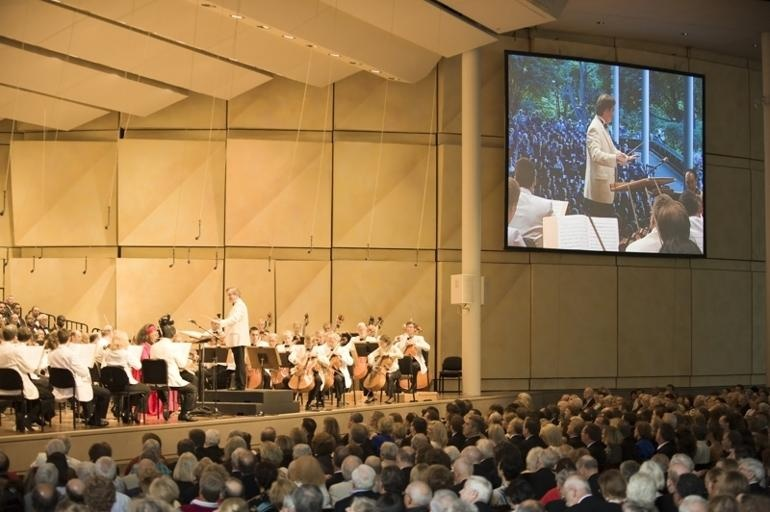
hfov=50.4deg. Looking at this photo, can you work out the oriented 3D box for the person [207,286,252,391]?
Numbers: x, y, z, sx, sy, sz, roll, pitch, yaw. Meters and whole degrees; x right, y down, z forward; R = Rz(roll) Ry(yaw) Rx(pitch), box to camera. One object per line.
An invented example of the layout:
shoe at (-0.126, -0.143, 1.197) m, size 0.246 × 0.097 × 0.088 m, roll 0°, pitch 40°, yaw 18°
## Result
person at (-3.155, 1.614, 17.195) m, size 0.594 × 1.830 × 0.750 m, roll 5°, pitch 10°, yaw 19°
